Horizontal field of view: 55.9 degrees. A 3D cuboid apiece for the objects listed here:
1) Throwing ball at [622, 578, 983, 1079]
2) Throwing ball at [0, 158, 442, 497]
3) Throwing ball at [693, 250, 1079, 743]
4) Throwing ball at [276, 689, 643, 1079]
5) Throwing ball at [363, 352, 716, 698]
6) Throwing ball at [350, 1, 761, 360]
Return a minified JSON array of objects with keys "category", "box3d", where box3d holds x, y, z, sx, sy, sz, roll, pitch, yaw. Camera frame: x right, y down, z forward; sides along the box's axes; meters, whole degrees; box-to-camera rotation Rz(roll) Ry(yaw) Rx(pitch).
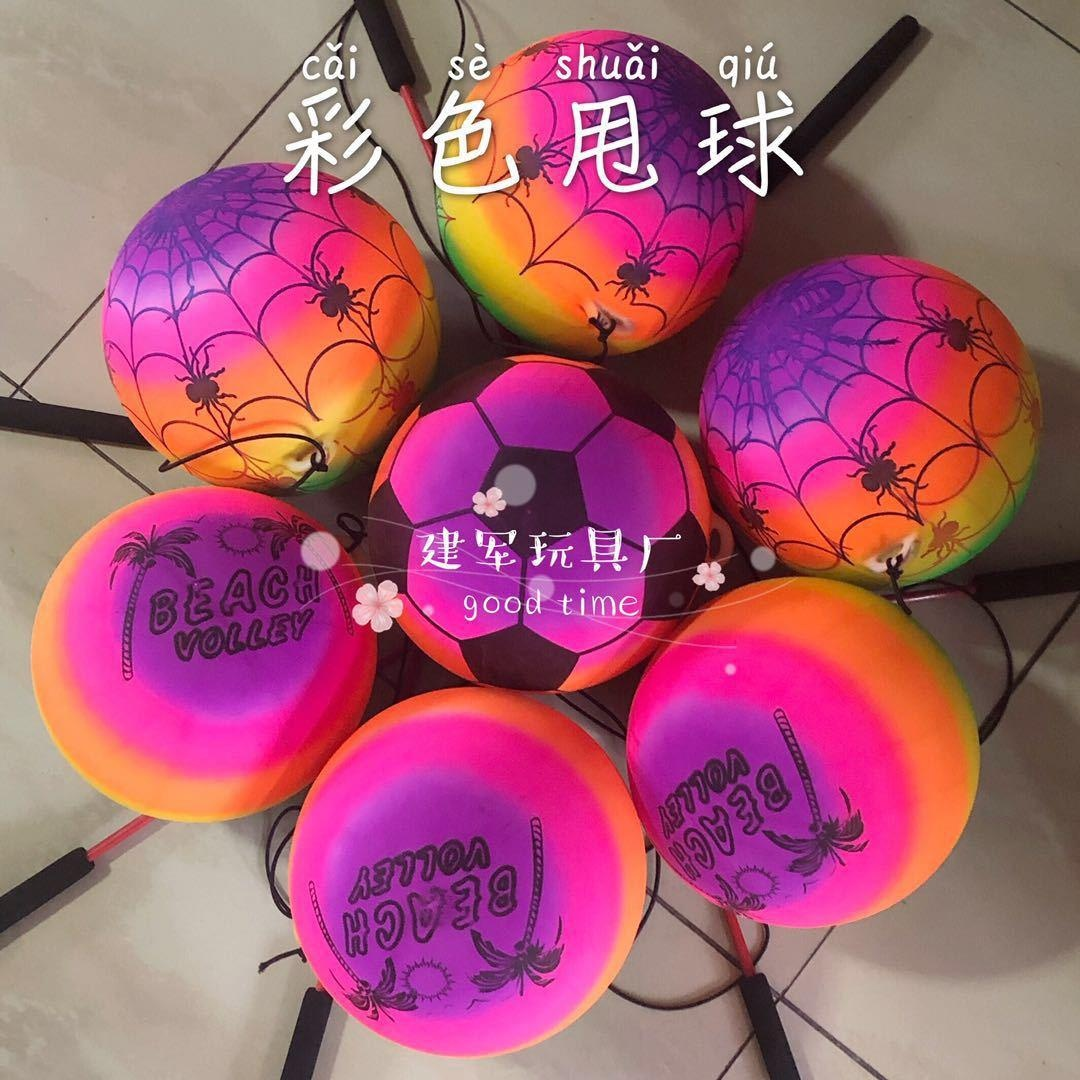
[{"category":"Throwing ball","box3d":[0.326,0.259,1.278,0.408,0.167,0.413,0,73,0]},{"category":"Throwing ball","box3d":[-0.405,-0.250,1.416,0.387,0.451,0.444,-2,91,15]},{"category":"Throwing ball","box3d":[0.434,-0.044,1.257,0.376,0.266,0.523,-11,95,17]},{"category":"Throwing ball","box3d":[-0.092,0.402,1.251,0.445,0.167,0.444,0,73,0]},{"category":"Throwing ball","box3d":[-0.007,-0.021,1.431,0.407,0.409,0.502,5,96,9]},{"category":"Throwing ball","box3d":[-0.012,-0.530,1.439,0.268,0.251,0.593,-30,49,-30]}]
